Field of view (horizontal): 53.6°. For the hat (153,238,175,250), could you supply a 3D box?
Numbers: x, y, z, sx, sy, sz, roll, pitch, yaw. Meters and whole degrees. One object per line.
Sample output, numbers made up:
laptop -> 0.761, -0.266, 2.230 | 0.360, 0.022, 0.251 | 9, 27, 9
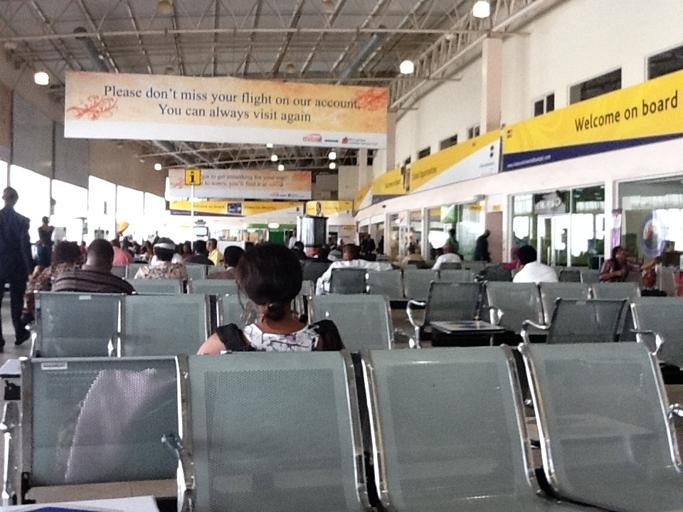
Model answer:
hat -> -1.971, -0.138, 7.486 | 0.277, 0.141, 0.405 | 1, 3, -8
